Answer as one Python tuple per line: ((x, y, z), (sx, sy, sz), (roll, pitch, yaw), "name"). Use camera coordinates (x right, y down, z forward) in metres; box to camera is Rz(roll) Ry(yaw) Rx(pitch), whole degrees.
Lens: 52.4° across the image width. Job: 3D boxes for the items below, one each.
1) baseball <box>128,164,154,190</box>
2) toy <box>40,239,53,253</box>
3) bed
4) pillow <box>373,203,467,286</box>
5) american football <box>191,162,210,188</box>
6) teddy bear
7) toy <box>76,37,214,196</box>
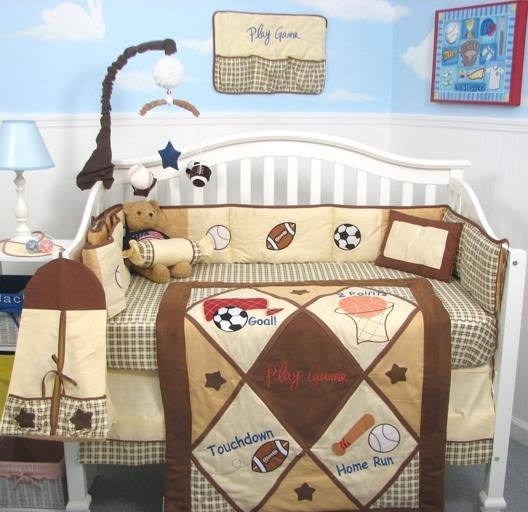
((-0.541, -0.341, 2.350), (0.109, 0.117, 0.086), (7, 5, -10), "baseball")
((-0.836, -0.038, 2.056), (0.045, 0.049, 0.046), (1, -6, -7), "toy")
((0.136, 0.284, 2.020), (1.306, 1.156, 0.523), (-1, 8, -4), "bed")
((0.677, -0.041, 2.288), (0.101, 0.275, 0.337), (18, 1, -38), "pillow")
((-0.284, -0.347, 2.431), (0.082, 0.100, 0.105), (8, -38, -5), "american football")
((-0.463, -0.069, 2.304), (0.272, 0.339, 0.309), (-1, 6, -15), "teddy bear")
((-0.544, -0.623, 2.445), (0.534, 0.694, 0.440), (0, 6, -5), "toy")
